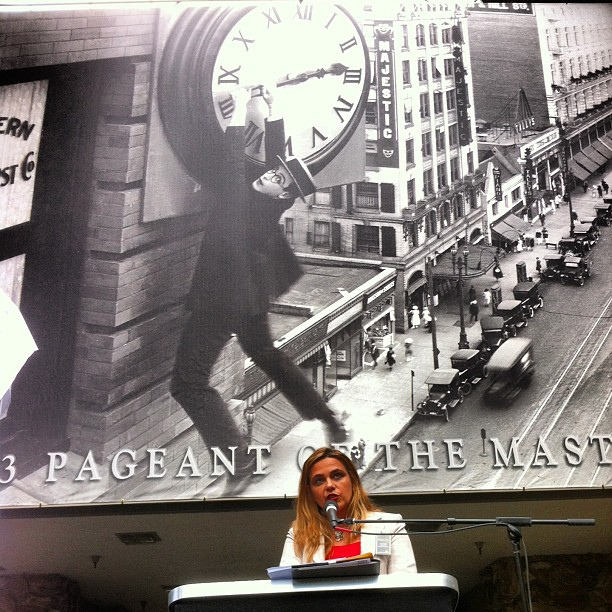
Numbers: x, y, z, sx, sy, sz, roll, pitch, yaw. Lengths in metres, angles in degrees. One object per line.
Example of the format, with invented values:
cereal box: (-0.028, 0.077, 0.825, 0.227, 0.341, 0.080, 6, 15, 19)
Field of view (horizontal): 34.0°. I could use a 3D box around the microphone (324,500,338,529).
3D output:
microphone: (0.122, 0.997, 4.881, 0.051, 0.046, 0.113, 2, 31, -3)
